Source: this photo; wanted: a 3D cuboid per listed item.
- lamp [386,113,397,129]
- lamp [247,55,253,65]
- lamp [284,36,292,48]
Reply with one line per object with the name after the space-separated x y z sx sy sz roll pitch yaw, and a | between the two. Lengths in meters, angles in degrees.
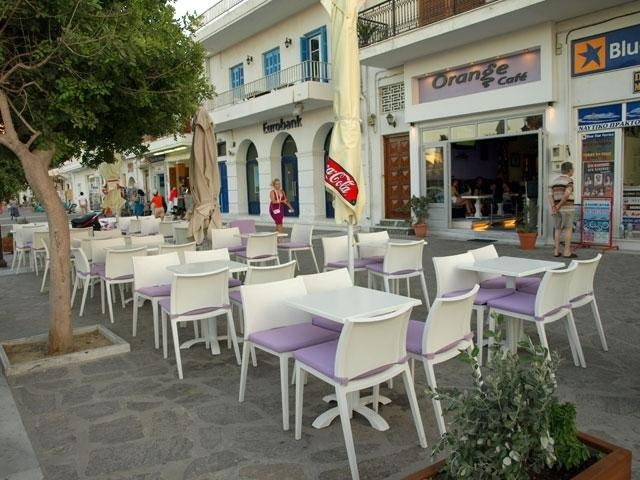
2.368 -4.030 15.535 0.410 0.482 0.356 6 13 41 | lamp
-3.398 -8.516 21.763 0.150 0.442 0.570 -9 12 -36 | lamp
-1.392 -8.328 19.447 0.394 0.558 0.312 2 3 -11 | lamp
